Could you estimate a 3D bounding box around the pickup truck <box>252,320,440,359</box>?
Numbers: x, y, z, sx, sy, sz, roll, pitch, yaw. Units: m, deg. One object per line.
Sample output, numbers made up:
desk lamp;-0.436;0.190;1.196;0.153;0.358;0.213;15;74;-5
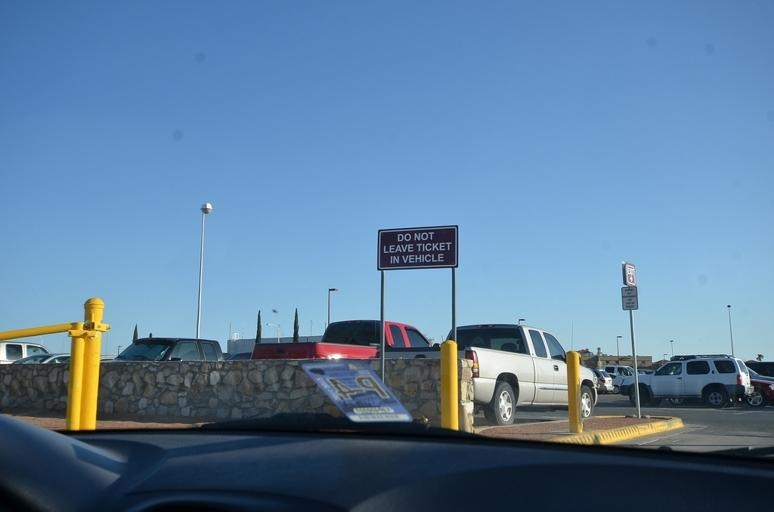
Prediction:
pickup truck;-0.553;1.513;12.881;1.675;1.097;3.214;-5;-7;39
